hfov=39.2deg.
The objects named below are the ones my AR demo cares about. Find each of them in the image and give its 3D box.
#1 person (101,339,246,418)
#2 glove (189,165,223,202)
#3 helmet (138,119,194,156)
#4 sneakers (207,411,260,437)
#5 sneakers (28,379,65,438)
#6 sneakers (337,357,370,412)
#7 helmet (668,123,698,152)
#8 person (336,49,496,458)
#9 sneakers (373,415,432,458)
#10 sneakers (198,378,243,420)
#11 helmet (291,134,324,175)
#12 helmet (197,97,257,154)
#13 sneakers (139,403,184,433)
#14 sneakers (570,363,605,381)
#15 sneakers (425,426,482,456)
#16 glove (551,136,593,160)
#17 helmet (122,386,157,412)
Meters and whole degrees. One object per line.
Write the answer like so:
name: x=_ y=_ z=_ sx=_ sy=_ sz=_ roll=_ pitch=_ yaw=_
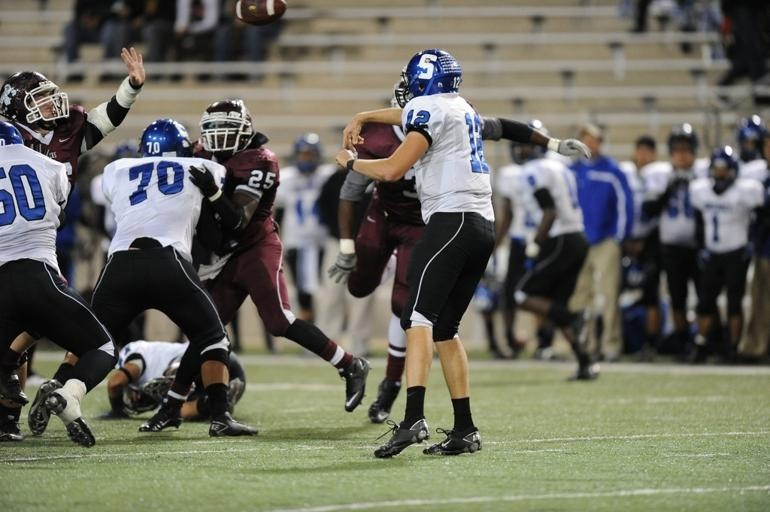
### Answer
person: x=-1.738 y=1.026 z=8.903 sx=0.949 sy=0.497 sz=0.648 roll=-2 pitch=-31 yaw=3
glove: x=-1.315 y=-0.526 z=7.955 sx=0.074 sy=0.166 sz=0.266 roll=-3 pitch=-36 yaw=49
helmet: x=-1.667 y=-0.854 z=8.233 sx=0.341 sy=0.291 sz=0.265 roll=-19 pitch=40 yaw=-29
sneakers: x=-1.147 y=1.288 z=8.193 sx=0.441 sy=0.199 sz=0.148 roll=1 pitch=-3 yaw=-4
sneakers: x=-2.396 y=1.053 z=7.569 sx=0.164 sy=0.443 sz=0.203 roll=25 pitch=2 yaw=31
sneakers: x=-0.269 y=1.030 z=8.756 sx=0.270 sy=0.511 sz=0.172 roll=9 pitch=-13 yaw=-13
helmet: x=3.603 y=-1.400 z=12.949 sx=0.368 sy=0.394 sz=0.412 roll=1 pitch=1 yaw=0
person: x=0.276 y=-0.057 z=7.731 sx=0.977 sy=2.918 sz=0.641 roll=1 pitch=0 yaw=5
sneakers: x=0.112 y=1.257 z=7.593 sx=0.479 sy=0.234 sz=0.187 roll=-26 pitch=-18 yaw=4
sneakers: x=-1.307 y=1.131 z=8.745 sx=0.237 sy=0.178 sz=0.531 roll=8 pitch=29 yaw=15
helmet: x=-1.032 y=-1.328 z=14.182 sx=0.363 sy=0.464 sz=0.497 roll=1 pitch=3 yaw=-5
helmet: x=-1.237 y=-0.986 z=8.388 sx=0.347 sy=0.353 sz=0.431 roll=-1 pitch=-2 yaw=11
sneakers: x=-1.700 y=1.240 z=8.338 sx=0.387 sy=0.270 sz=0.158 roll=11 pitch=-10 yaw=-43
sneakers: x=2.143 y=1.224 z=11.374 sx=0.418 sy=0.164 sz=0.140 roll=-2 pitch=4 yaw=-19
sneakers: x=0.492 y=1.321 z=7.686 sx=0.462 sy=0.213 sz=0.160 roll=-3 pitch=-15 yaw=8
glove: x=1.427 y=-0.816 z=8.329 sx=0.284 sy=0.152 sz=0.375 roll=1 pitch=0 yaw=9
helmet: x=-2.012 y=1.174 z=8.842 sx=0.278 sy=0.123 sz=0.171 roll=10 pitch=-10 yaw=-20
